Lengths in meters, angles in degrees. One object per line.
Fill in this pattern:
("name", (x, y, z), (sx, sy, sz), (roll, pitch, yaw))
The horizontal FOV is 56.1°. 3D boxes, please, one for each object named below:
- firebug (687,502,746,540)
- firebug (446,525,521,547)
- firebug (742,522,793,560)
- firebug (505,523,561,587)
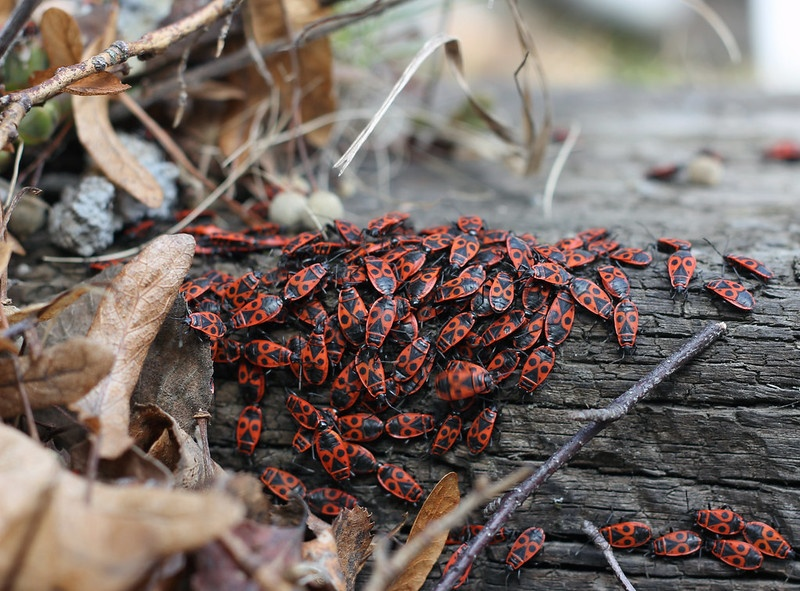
("firebug", (1.672, 1.190, 3.939), (0.251, 0.078, 0.123), (-3, 54, 7))
("firebug", (0.441, 1.280, 4.013), (0.289, 0.185, 0.066), (-1, 96, -5))
("firebug", (1.912, 1.275, 3.915), (0.252, 0.102, 0.147), (33, 66, 29))
("firebug", (0.654, 1.368, 3.990), (0.131, 0.153, 0.326), (35, 66, 29))
